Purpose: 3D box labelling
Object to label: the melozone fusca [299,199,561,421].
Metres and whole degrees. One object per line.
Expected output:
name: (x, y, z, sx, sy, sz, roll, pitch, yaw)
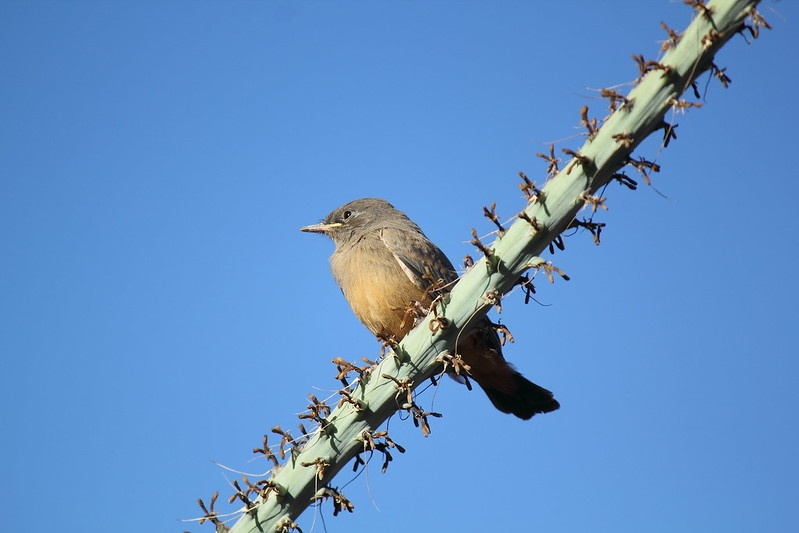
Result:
melozone fusca: (0.207, 0.289, 9.432, 2.084, 1.561, 1.009, 13, -38, -20)
